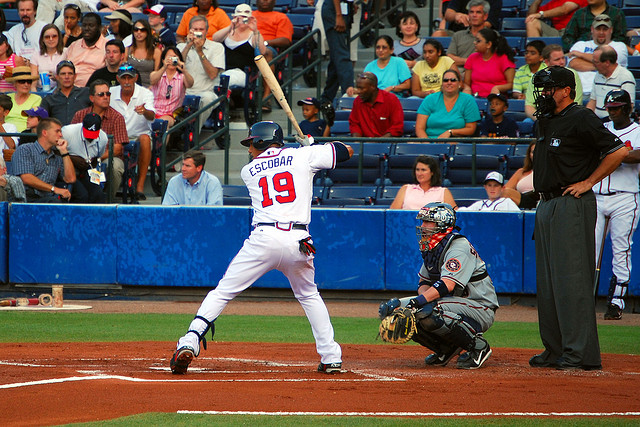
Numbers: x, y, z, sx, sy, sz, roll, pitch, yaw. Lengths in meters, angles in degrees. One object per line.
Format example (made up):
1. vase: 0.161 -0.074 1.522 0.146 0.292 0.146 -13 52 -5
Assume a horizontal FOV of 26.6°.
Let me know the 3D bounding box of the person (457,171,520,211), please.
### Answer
1. person: 2.671 -0.227 20.818 1.233 0.791 0.415 2 -4 29

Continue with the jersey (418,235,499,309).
1. jersey: 1.852 0.773 17.494 0.897 0.980 0.481 -1 2 2

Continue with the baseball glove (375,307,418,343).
1. baseball glove: 1.001 1.431 17.203 0.481 0.447 0.190 -1 2 1

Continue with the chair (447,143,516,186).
1. chair: 2.521 -0.731 21.674 1.155 0.851 0.650 3 -10 23

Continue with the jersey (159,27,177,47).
1. jersey: -2.720 -3.173 24.098 0.306 0.370 0.473 -1 1 -6

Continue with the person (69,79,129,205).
1. person: -3.636 -1.094 21.977 1.162 2.045 1.223 0 19 -13

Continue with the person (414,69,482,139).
1. person: 2.095 -1.808 22.099 1.064 1.122 0.329 -1 2 4

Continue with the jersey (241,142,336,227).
1. jersey: -0.394 -0.435 17.494 1.346 1.261 0.975 1 7 2

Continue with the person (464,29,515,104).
1. person: 2.762 -2.489 22.861 1.093 1.294 0.923 -1 2 3

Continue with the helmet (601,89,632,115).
1. helmet: 4.342 -1.629 19.578 0.372 0.373 0.349 -1 1 12

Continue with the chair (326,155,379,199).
1. chair: 0.649 -0.577 22.082 0.774 0.992 0.768 0 1 11

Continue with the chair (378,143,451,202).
1. chair: 1.551 -0.672 21.983 1.152 1.008 0.986 1 1 11

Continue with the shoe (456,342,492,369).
1. shoe: 1.976 1.782 17.389 0.530 0.335 0.187 -24 20 -31

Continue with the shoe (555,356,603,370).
1. shoe: 3.327 1.947 17.299 0.542 0.210 0.203 0 -1 -4

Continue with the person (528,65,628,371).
1. person: 3.223 0.061 17.350 1.098 3.911 0.479 -1 2 7

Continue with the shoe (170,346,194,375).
1. shoe: -1.721 1.847 16.828 0.192 0.422 0.208 20 33 -9

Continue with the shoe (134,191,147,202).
1. shoe: -2.974 -0.274 22.184 0.159 0.099 0.382 -3 4 -22

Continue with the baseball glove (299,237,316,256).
1. baseball glove: -0.182 0.429 17.038 0.213 0.207 0.065 -5 -10 -22

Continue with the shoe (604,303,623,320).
1. shoe: 4.329 1.466 19.819 0.294 0.271 0.165 0 7 -5

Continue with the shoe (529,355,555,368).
1. shoe: 2.875 1.923 17.409 0.284 0.128 0.128 10 -6 2

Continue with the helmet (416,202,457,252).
1. helmet: 1.513 0.179 17.615 0.457 0.631 0.573 1 -2 3

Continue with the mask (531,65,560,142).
1. mask: 2.923 -1.420 17.413 0.324 0.966 0.325 1 -3 4

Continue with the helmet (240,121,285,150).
1. helmet: -0.750 -1.023 17.520 0.638 0.371 0.423 1 6 5

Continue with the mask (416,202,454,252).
1. mask: 1.497 0.181 17.630 0.428 0.636 0.531 0 -2 4
